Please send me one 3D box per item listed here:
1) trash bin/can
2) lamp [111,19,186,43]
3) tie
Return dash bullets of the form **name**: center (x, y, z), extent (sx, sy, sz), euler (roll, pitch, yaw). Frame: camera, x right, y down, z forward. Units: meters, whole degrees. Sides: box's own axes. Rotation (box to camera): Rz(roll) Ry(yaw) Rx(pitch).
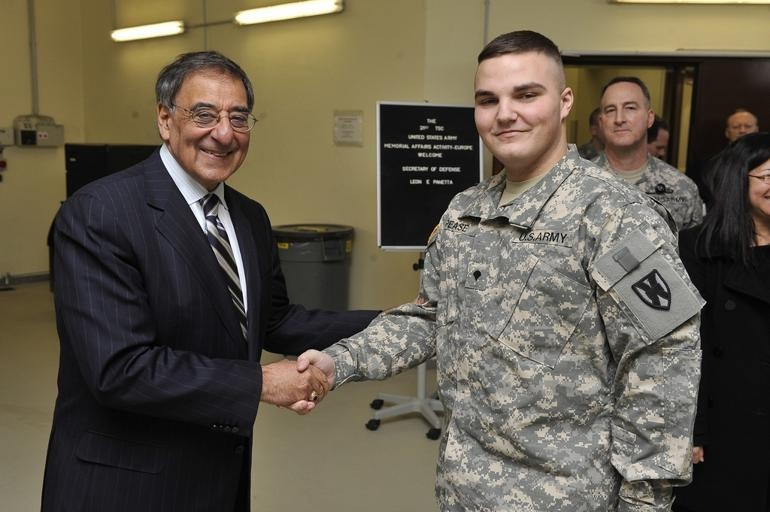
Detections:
- **trash bin/can**: center (-0.621, 0.180, 6.478), extent (0.777, 1.039, 0.781), euler (-1, 3, 1)
- **lamp**: center (-2.578, -2.466, 7.568), extent (1.054, 0.211, 0.148), euler (12, 18, 31)
- **tie**: center (-0.705, -0.017, 2.958), extent (0.137, 0.801, 0.095), euler (-5, -25, -25)
